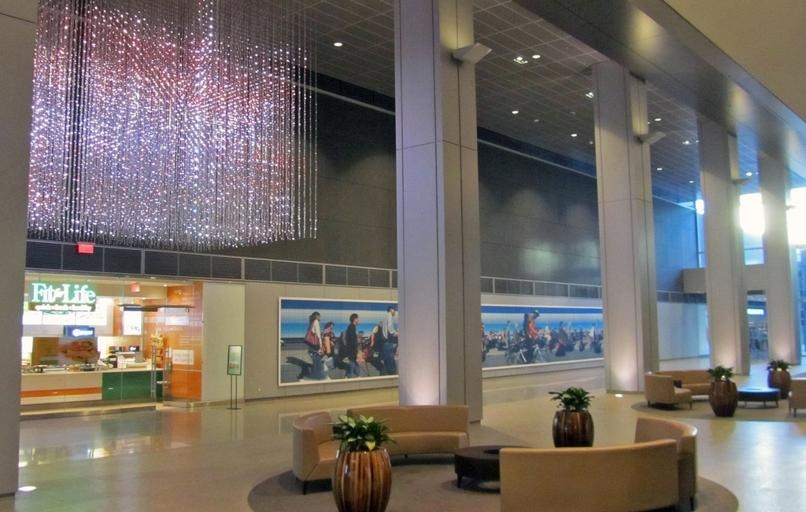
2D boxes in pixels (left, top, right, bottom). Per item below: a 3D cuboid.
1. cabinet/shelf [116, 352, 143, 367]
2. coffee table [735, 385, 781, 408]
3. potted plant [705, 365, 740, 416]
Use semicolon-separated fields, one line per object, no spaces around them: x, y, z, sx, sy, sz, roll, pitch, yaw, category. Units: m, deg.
-7.745;2.912;17.780;0.722;0.449;0.529;1;-7;-25;cabinet/shelf
8.606;3.386;15.123;0.769;0.337;0.766;1;-6;-4;coffee table
7.222;3.008;14.108;0.541;1.086;0.664;-5;-8;25;potted plant
